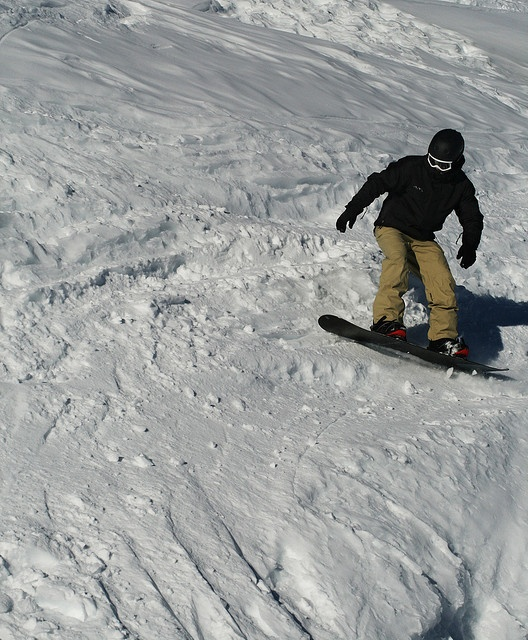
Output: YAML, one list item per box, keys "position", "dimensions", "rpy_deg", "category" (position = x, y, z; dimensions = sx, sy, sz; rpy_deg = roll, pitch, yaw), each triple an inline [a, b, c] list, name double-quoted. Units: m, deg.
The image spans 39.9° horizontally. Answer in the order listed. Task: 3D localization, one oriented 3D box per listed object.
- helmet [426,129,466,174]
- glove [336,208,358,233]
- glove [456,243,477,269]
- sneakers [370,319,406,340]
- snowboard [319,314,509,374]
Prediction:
- position: [1.465, -1.379, 5.866]
  dimensions: [0.276, 0.353, 0.220]
  rpy_deg: [15, 32, 6]
  category: "helmet"
- position: [0.669, -0.802, 6.035]
  dimensions: [0.137, 0.248, 0.308]
  rpy_deg: [14, 30, 3]
  category: "glove"
- position: [1.675, -0.527, 6.070]
  dimensions: [0.136, 0.204, 0.213]
  rpy_deg: [18, 32, 10]
  category: "glove"
- position: [1.024, 0.066, 5.984]
  dimensions: [0.138, 0.139, 0.329]
  rpy_deg: [17, 14, -35]
  category: "sneakers"
- position: [1.235, 0.217, 6.245]
  dimensions: [1.363, 0.185, 0.094]
  rpy_deg: [16, 56, 5]
  category: "snowboard"
